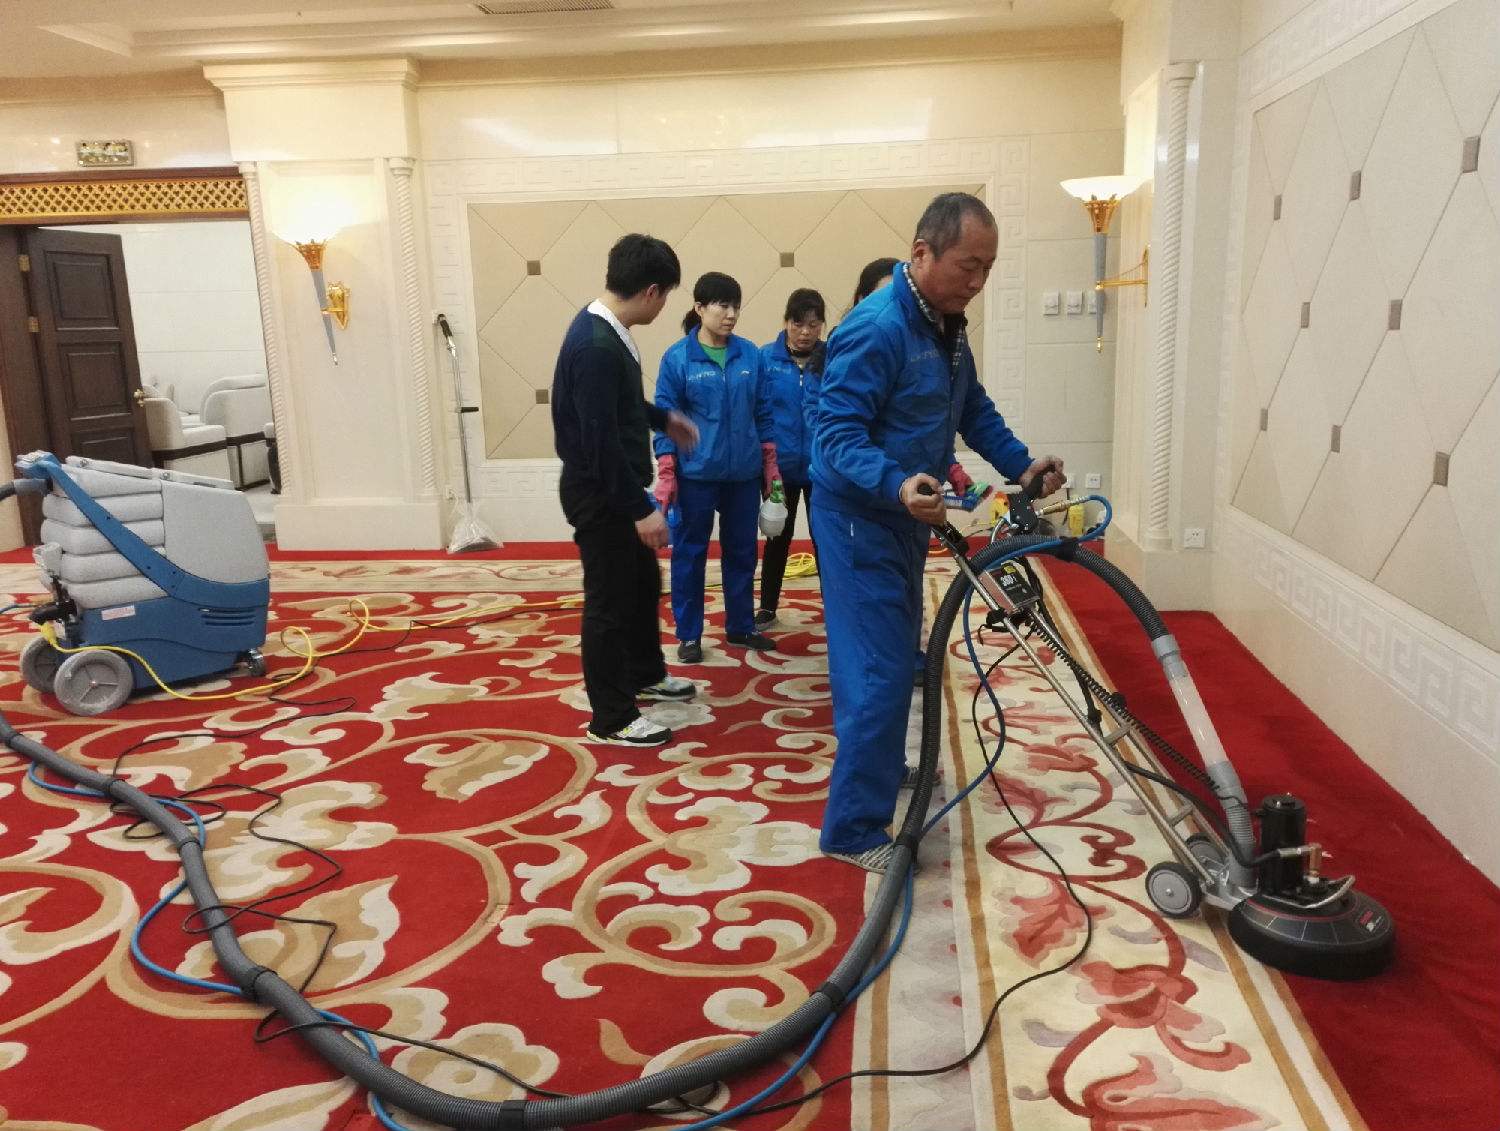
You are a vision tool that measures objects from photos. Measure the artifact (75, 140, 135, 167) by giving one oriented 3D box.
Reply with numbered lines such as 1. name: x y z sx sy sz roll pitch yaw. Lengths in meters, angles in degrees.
1. artifact: -4.399 -2.828 7.179 0.253 0.107 0.247 -6 13 -31

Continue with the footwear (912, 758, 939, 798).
1. footwear: 0.513 0.625 3.150 0.083 0.092 0.242 -2 0 15

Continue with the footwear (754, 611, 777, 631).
1. footwear: 0.075 0.258 5.095 0.100 0.105 0.270 0 -1 9

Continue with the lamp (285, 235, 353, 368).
1. lamp: -2.852 -1.790 7.097 0.287 0.805 0.157 -8 18 -21

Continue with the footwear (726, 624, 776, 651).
1. footwear: 0.012 0.316 4.821 0.241 0.098 0.097 3 7 19

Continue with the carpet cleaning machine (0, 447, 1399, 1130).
1. carpet cleaning machine: -0.092 0.403 2.633 3.353 1.152 1.434 -2 16 -1

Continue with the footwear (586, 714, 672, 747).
1. footwear: -0.433 0.599 3.840 0.302 0.130 0.117 0 5 3

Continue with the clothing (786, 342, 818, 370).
1. clothing: 0.241 -0.959 4.714 0.149 0.102 0.195 3 33 -3

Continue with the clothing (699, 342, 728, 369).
1. clothing: -0.165 -0.927 4.593 0.095 0.090 0.052 -33 22 -35

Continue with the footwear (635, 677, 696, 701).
1. footwear: -0.337 0.483 4.194 0.223 0.101 0.095 -3 6 -1

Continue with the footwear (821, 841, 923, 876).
1. footwear: 0.347 0.798 2.958 0.262 0.099 0.095 -1 -1 20
